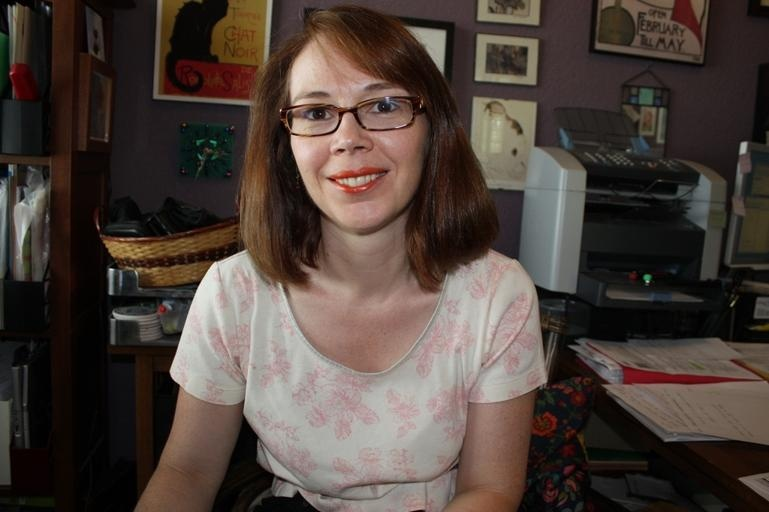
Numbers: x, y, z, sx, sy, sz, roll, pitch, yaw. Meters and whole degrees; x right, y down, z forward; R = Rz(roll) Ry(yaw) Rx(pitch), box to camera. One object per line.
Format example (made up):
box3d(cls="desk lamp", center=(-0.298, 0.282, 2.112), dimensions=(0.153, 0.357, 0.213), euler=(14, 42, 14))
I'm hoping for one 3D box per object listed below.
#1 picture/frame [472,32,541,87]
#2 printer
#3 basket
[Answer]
box3d(cls="picture/frame", center=(0.515, -0.857, 2.815), dimensions=(0.219, 0.165, 0.023), euler=(3, 0, -4))
box3d(cls="printer", center=(0.896, -0.191, 2.619), dimensions=(0.675, 0.710, 0.710), euler=(4, 3, -10))
box3d(cls="basket", center=(-0.721, -0.006, 2.247), dimensions=(0.356, 0.185, 0.298), euler=(-11, 2, -35))
